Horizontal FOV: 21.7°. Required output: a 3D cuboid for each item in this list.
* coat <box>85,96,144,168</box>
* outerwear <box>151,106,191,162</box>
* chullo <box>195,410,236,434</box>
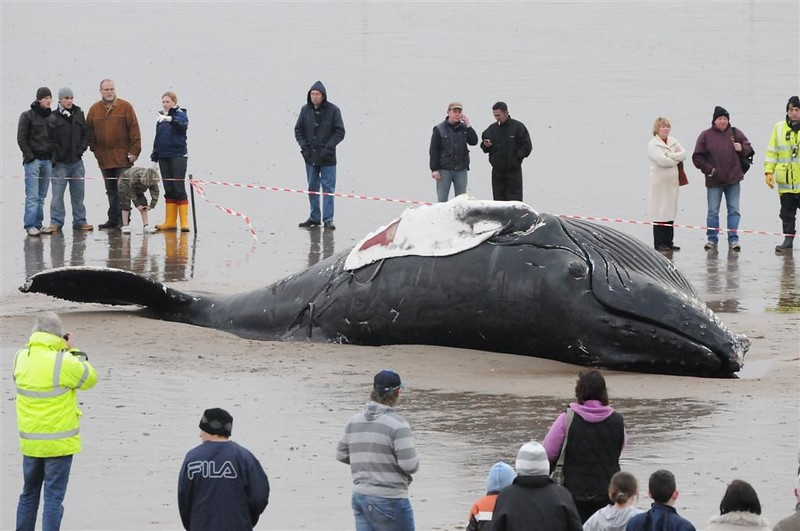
[{"bbox_3d":[-7.986,-3.683,58.243,1.464,1.921,0.671,1,-6,-4],"label":"coat"},{"bbox_3d":[-6.312,-3.608,57.862,1.124,1.528,1.504,3,-4,-27],"label":"outerwear"},{"bbox_3d":[-3.882,3.283,44.036,0.589,0.368,0.550,6,10,28],"label":"chullo"}]
